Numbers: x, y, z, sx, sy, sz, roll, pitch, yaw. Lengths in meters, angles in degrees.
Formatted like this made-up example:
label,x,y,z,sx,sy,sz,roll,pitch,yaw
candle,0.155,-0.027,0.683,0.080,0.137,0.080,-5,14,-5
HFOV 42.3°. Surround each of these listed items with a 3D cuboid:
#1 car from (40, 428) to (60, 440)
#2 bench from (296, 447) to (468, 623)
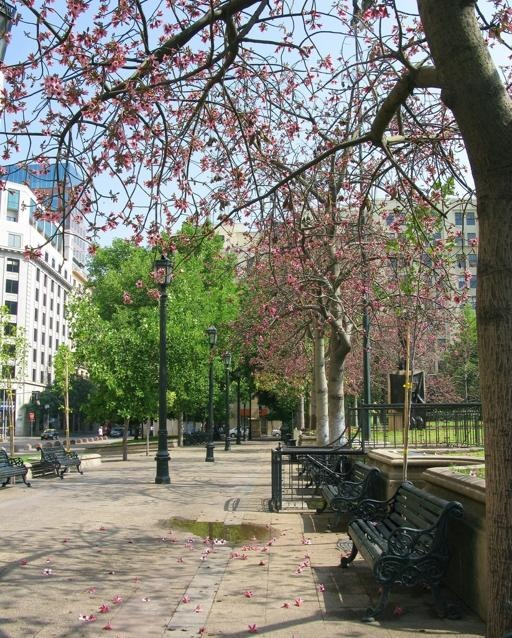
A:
label,x,y,z,sx,sy,sz,roll,pitch,yaw
car,-20.045,10.970,64.545,1.684,1.176,2.659,0,-18,-6
bench,1.263,1.926,5.826,0.874,0.888,1.845,-2,-8,2
